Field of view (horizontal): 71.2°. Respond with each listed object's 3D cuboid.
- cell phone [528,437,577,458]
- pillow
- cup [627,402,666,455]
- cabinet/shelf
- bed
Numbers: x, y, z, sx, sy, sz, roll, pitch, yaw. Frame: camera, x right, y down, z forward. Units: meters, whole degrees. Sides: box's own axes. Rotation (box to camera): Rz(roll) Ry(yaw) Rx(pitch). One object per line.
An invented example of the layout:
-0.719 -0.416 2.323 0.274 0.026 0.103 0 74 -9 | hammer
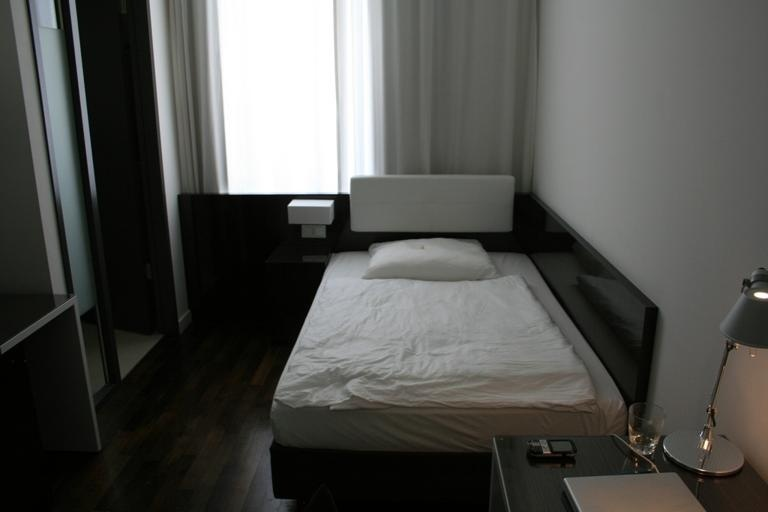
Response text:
0.729 0.828 2.325 0.151 0.037 0.087 0 19 2 | cell phone
0.368 0.040 4.126 0.608 0.145 0.449 -1 22 1 | pillow
1.118 0.762 2.344 0.177 0.216 0.191 -3 2 0 | cup
-0.720 0.348 4.573 0.546 0.764 0.557 1 7 -5 | cabinet/shelf
0.461 0.351 3.629 1.972 1.312 2.365 0 21 4 | bed
